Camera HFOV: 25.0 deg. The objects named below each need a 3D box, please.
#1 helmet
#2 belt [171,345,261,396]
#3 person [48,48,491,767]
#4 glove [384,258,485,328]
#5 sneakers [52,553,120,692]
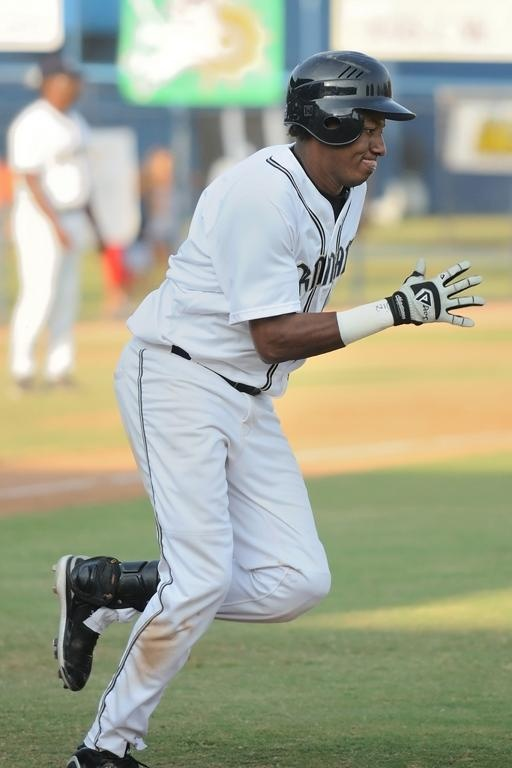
[{"bbox_3d":[0.221,-0.683,2.704,0.314,0.179,0.189,3,23,10],"label":"helmet"},{"bbox_3d":[-0.082,-0.044,2.686,0.175,0.036,0.122,19,-18,8],"label":"belt"},{"bbox_3d":[-0.019,0.034,2.677,0.974,1.593,0.453,-5,12,-19],"label":"person"},{"bbox_3d":[0.399,-0.204,2.593,0.209,0.135,0.096,0,10,8],"label":"glove"},{"bbox_3d":[-0.405,0.581,2.899,0.187,0.329,0.128,0,7,16],"label":"sneakers"}]
